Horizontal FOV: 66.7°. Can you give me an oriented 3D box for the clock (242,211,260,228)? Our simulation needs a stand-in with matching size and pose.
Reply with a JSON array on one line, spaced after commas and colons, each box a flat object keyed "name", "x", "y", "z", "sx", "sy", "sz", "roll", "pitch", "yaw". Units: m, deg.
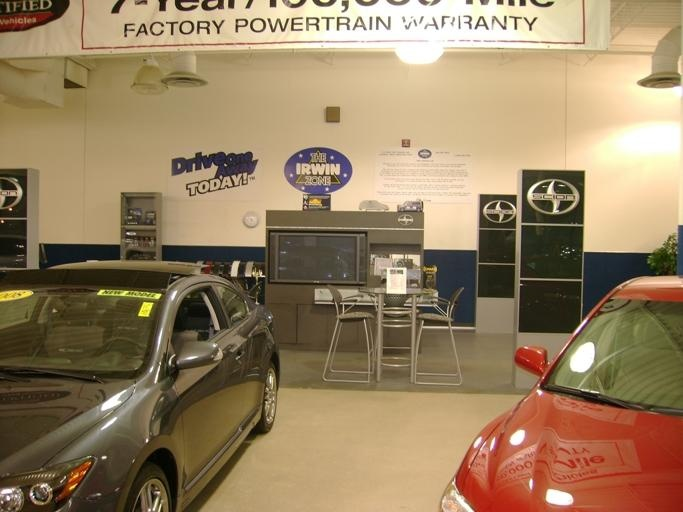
[{"name": "clock", "x": -1.844, "y": -0.733, "z": 10.586, "sx": 0.352, "sy": 0.354, "sz": 0.060, "roll": 2, "pitch": 4, "yaw": 10}]

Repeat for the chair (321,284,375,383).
[{"name": "chair", "x": 0.092, "y": 1.011, "z": 6.990, "sx": 0.777, "sy": 1.217, "sz": 0.828, "roll": 1, "pitch": -1, "yaw": 25}]

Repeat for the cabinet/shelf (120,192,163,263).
[{"name": "cabinet/shelf", "x": -4.000, "y": -0.577, "z": 10.408, "sx": 0.701, "sy": 1.396, "sz": 0.371, "roll": 1, "pitch": 2, "yaw": -19}]

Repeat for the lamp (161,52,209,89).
[{"name": "lamp", "x": -2.177, "y": -2.637, "z": 7.282, "sx": 0.537, "sy": 0.384, "sz": 0.810, "roll": 0, "pitch": 4, "yaw": -31}]

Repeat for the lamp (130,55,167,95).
[{"name": "lamp", "x": -3.392, "y": -3.274, "z": 9.219, "sx": 0.532, "sy": 0.702, "sz": 1.103, "roll": 0, "pitch": 4, "yaw": -18}]

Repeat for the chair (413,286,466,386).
[{"name": "chair", "x": 1.269, "y": 0.977, "z": 6.889, "sx": 0.802, "sy": 1.169, "sz": 0.811, "roll": -1, "pitch": -8, "yaw": 44}]

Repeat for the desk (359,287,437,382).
[{"name": "desk", "x": 0.678, "y": 1.022, "z": 6.378, "sx": 0.838, "sy": 1.074, "sz": 0.917, "roll": -4, "pitch": -7, "yaw": 8}]
